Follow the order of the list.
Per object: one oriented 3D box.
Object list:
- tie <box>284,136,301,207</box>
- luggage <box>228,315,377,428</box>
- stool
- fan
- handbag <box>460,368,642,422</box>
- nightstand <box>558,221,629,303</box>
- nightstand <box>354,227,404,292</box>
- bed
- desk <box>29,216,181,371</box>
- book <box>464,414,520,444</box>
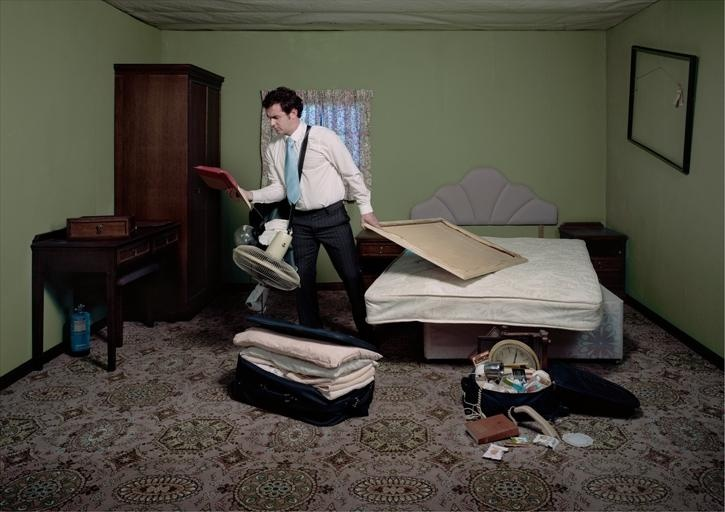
[{"bbox_3d":[-0.541,-0.642,3.994,0.117,0.500,0.190,-3,15,-8],"label":"tie"},{"bbox_3d":[-0.366,0.750,3.534,0.978,0.583,0.717,2,-3,31],"label":"luggage"},{"bbox_3d":[-2.233,0.439,4.711,0.263,0.565,0.707,0,8,-5],"label":"stool"},{"bbox_3d":[-0.680,0.155,3.520,0.320,0.396,0.278,10,-4,-43],"label":"fan"},{"bbox_3d":[1.323,0.927,3.444,0.683,0.189,0.485,1,0,13],"label":"handbag"},{"bbox_3d":[2.634,0.063,6.056,0.572,0.775,0.670,-4,11,3],"label":"nightstand"},{"bbox_3d":[0.178,0.054,5.993,0.586,0.518,0.414,0,10,-8],"label":"nightstand"},{"bbox_3d":[1.294,0.141,4.872,2.086,1.337,2.130,0,7,10],"label":"bed"},{"bbox_3d":[-2.237,0.319,4.492,0.466,0.698,1.264,0,7,-3],"label":"desk"},{"bbox_3d":[0.799,1.064,3.251,0.185,0.039,0.177,-8,13,-16],"label":"book"}]
